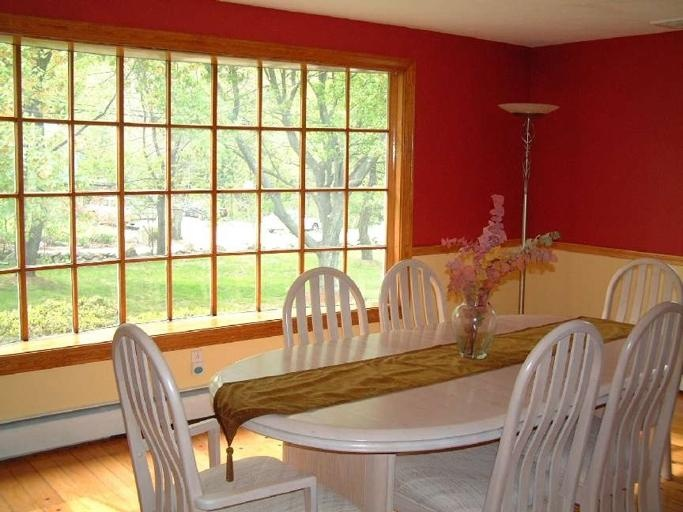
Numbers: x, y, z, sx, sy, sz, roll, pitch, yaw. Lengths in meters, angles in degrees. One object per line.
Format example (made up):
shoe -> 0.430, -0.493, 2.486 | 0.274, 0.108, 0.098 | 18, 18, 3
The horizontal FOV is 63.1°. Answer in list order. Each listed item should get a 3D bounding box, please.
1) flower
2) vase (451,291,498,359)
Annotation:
flower -> 0.683, 0.153, 2.582 | 0.341, 0.597, 0.541 | -8, -7, 12
vase -> 0.612, 0.318, 2.578 | 0.182, 0.311, 0.204 | -1, -5, 38
